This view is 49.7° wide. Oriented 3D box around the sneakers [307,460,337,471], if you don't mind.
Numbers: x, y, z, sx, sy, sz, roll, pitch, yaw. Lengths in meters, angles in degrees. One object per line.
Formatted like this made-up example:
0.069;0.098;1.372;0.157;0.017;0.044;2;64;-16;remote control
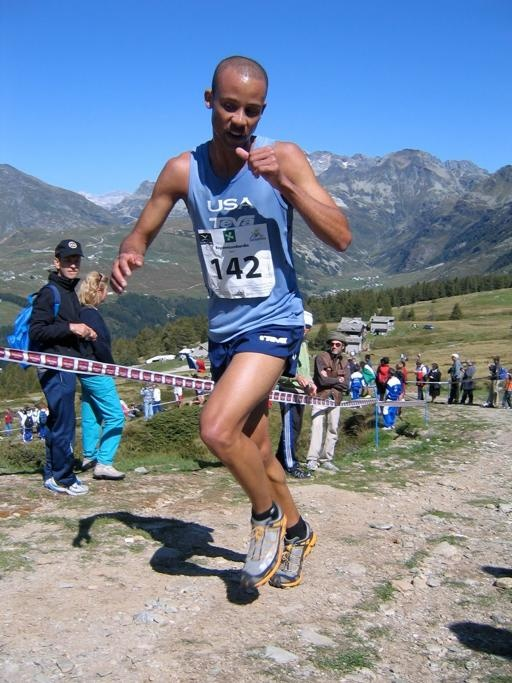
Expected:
1.101;2.125;9.397;0.551;0.166;0.233;0;-21;-2;sneakers

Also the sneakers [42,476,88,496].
-2.052;1.552;5.941;0.417;0.166;0.176;2;-4;8;sneakers

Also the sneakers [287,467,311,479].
0.645;2.033;8.526;0.398;0.163;0.129;-1;1;26;sneakers

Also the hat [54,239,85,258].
-2.095;-1.039;6.154;0.246;0.165;0.340;0;-1;-30;hat

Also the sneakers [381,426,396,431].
3.401;2.263;14.399;0.138;0.158;0.398;-3;-11;28;sneakers
